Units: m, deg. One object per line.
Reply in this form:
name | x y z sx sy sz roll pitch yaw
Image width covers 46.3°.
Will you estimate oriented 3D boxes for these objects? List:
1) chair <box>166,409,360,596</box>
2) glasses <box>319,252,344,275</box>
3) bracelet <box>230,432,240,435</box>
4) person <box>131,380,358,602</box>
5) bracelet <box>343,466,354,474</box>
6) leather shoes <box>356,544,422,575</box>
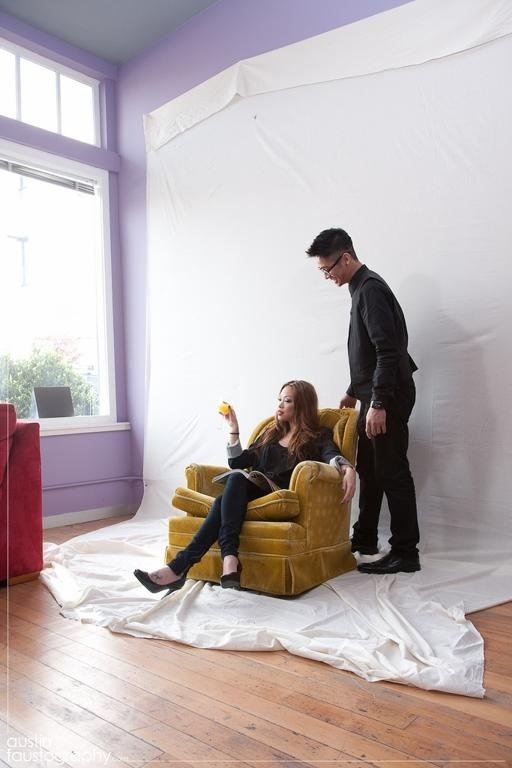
chair | 0.054 0.471 2.583 0.689 0.603 0.676 -3 -2 35
glasses | 0.343 -0.525 2.661 0.025 0.080 0.076 48 -24 -20
bracelet | -0.094 0.222 2.670 0.041 0.010 0.040 2 -3 -7
person | -0.142 0.496 2.592 0.735 0.958 0.898 -18 -32 37
bracelet | 0.366 0.346 2.388 0.025 0.030 0.033 -2 -32 15
leather shoes | 0.551 0.742 2.504 0.266 0.123 0.100 -2 -14 10
